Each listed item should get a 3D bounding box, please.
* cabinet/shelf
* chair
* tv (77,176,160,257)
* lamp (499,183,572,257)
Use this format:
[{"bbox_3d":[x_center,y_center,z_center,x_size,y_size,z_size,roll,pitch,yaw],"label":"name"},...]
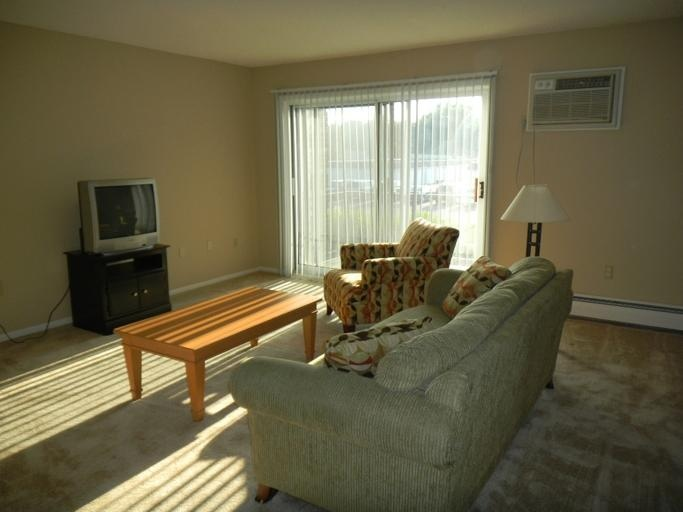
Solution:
[{"bbox_3d":[-2.274,0.293,5.007,0.471,0.795,0.804,9,14,30],"label":"cabinet/shelf"},{"bbox_3d":[0.418,0.215,4.812,1.204,1.024,1.124,0,10,1],"label":"chair"},{"bbox_3d":[-2.262,-0.381,4.789,0.369,0.686,0.684,4,11,26],"label":"tv"},{"bbox_3d":[1.721,-0.211,4.283,0.549,0.831,0.533,1,7,18],"label":"lamp"}]
